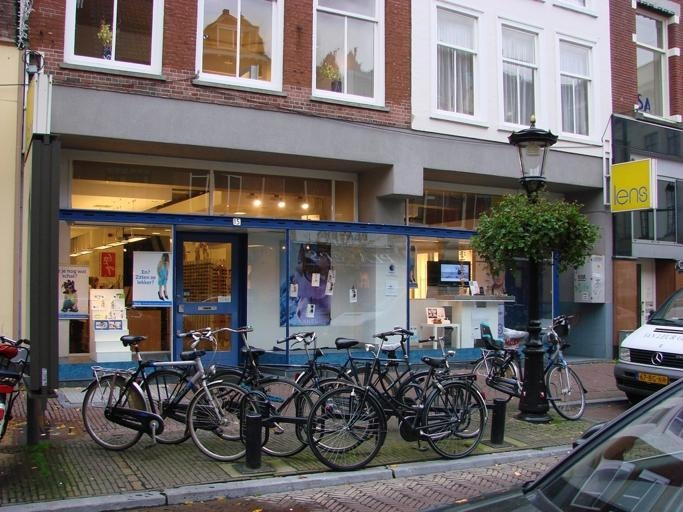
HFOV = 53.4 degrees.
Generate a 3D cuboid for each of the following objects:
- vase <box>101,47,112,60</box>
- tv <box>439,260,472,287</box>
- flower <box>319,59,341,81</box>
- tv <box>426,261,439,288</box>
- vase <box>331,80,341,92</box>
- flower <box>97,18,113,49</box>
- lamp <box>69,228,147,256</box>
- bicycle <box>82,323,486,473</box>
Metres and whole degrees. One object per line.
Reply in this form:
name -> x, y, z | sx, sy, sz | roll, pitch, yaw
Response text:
vase -> -4.478, -3.865, 12.932 | 0.168, 0.262, 0.118 | 0, 11, -19
tv -> 2.647, 0.389, 15.765 | 0.844, 0.493, 0.143 | -2, 12, -28
flower -> -0.244, -4.074, 14.930 | 0.480, 0.407, 0.178 | -3, 12, -32
tv -> 2.096, 0.400, 15.506 | 0.357, 0.574, 0.115 | -3, 13, -35
vase -> -0.106, -3.719, 14.937 | 0.263, 0.259, 0.248 | 3, 3, 14
flower -> -4.519, -4.241, 12.990 | 0.276, 0.524, 0.198 | 3, 10, -5
lamp -> -4.407, -0.253, 12.790 | 1.391, 0.606, 0.200 | 3, 11, -6
bicycle -> -0.703, 1.795, 8.439 | 4.925, 1.509, 1.163 | 3, 10, 0
